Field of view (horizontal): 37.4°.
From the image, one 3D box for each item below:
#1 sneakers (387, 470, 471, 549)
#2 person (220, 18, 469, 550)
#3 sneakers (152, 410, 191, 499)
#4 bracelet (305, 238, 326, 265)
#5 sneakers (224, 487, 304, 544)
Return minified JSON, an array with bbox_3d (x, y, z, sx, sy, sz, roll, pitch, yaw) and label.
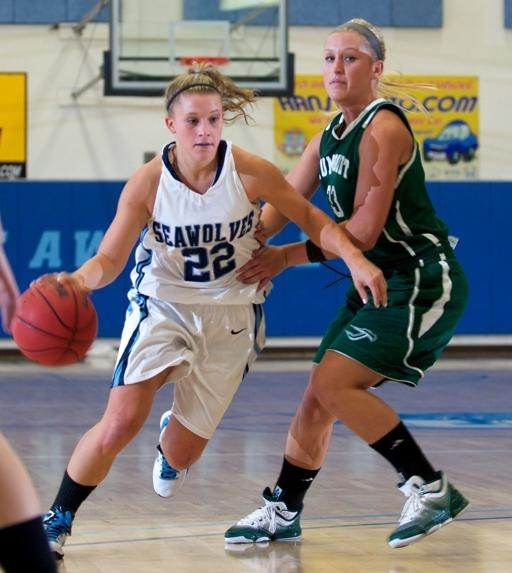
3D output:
[{"bbox_3d":[0.480,0.630,2.103,0.194,0.173,0.171,6,17,14],"label":"sneakers"},{"bbox_3d":[0.287,0.042,2.314,0.678,1.703,0.916,1,18,-1],"label":"person"},{"bbox_3d":[-0.295,0.556,2.410,0.128,0.306,0.136,7,23,8],"label":"sneakers"},{"bbox_3d":[0.192,-0.116,2.409,0.069,0.068,0.060,-7,-8,7],"label":"bracelet"},{"bbox_3d":[-0.026,0.728,2.351,0.317,0.151,0.101,1,-8,-7],"label":"sneakers"}]
